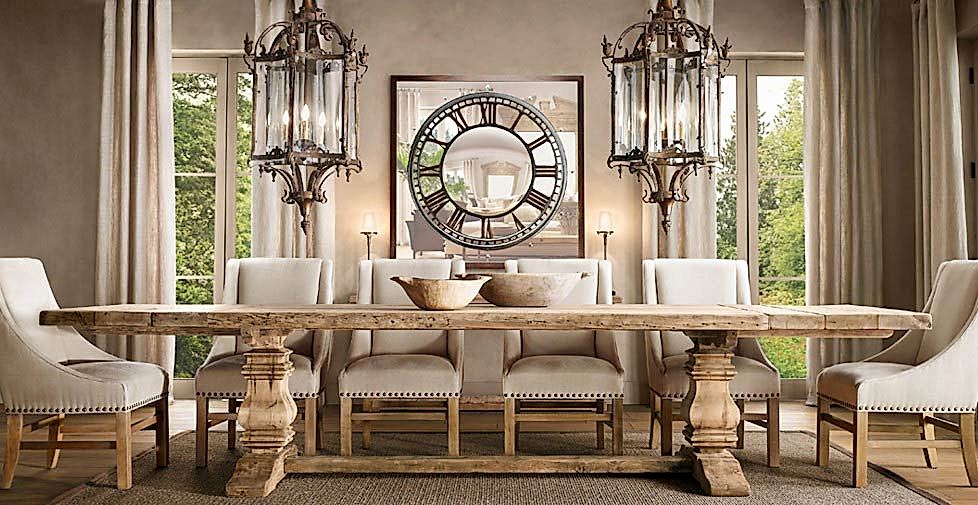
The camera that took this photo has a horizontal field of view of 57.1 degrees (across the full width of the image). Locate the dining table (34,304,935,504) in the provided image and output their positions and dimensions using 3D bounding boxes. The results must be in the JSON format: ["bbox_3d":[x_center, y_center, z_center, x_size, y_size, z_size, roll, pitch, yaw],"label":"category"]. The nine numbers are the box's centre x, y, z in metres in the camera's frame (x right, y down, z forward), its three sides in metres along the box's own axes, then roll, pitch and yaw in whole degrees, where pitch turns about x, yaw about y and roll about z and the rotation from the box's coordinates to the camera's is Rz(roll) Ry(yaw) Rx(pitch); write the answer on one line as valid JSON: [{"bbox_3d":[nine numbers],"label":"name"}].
[{"bbox_3d":[-0.008,1.195,7.302,6.291,1.523,0.438,0,4,0],"label":"dining table"}]

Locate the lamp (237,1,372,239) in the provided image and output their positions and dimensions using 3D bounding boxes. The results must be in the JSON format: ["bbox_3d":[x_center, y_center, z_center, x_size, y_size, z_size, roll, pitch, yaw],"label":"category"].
[{"bbox_3d":[-1.604,-1.143,7.913,1.021,1.987,1.335,0,4,-10],"label":"lamp"}]

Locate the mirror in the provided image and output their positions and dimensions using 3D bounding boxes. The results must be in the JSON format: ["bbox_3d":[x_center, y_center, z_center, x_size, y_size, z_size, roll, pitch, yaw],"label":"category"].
[{"bbox_3d":[-0.003,-0.840,9.086,2.314,1.794,0.092,0,1,0],"label":"mirror"}]

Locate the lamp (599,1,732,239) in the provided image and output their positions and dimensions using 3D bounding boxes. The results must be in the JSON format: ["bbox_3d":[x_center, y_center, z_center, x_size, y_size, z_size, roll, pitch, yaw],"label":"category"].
[{"bbox_3d":[1.544,-1.157,7.899,1.048,1.926,1.361,1,4,9],"label":"lamp"}]

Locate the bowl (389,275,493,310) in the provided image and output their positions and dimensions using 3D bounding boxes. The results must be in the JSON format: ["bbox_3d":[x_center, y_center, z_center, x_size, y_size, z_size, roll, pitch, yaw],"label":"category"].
[{"bbox_3d":[-0.378,0.323,7.283,0.781,0.268,0.271,0,3,-6],"label":"bowl"}]
